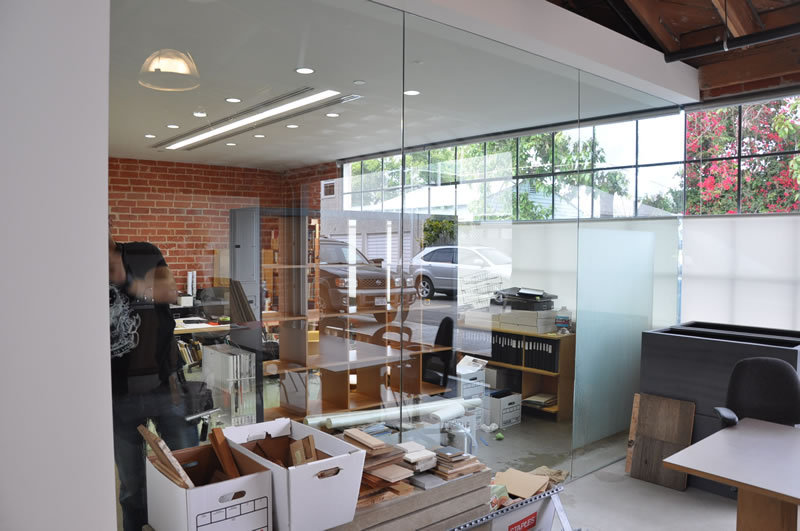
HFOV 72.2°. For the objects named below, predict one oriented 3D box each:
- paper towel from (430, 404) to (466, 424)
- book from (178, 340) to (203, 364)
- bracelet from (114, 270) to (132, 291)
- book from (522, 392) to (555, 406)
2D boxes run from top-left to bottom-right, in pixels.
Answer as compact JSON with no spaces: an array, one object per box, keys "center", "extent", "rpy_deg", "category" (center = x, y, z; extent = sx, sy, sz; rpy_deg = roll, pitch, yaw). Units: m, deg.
[{"center":[0.315,1.006,3.719],"extent":[0.201,0.069,0.108],"rpy_deg":[-9,-13,-35],"category":"paper towel"},{"center":[-1.107,0.458,2.898],"extent":[0.108,0.131,0.048],"rpy_deg":[-6,4,-15],"category":"book"},{"center":[-1.404,0.077,2.779],"extent":[0.086,0.088,0.095],"rpy_deg":[0,5,-29],"category":"bracelet"},{"center":[1.095,1.071,4.327],"extent":[0.394,0.123,0.021],"rpy_deg":[-3,3,-39],"category":"book"}]
